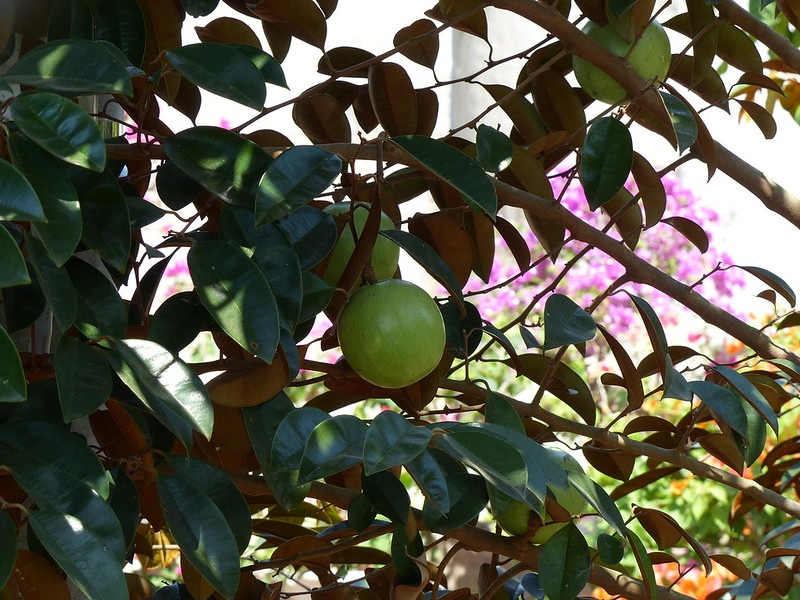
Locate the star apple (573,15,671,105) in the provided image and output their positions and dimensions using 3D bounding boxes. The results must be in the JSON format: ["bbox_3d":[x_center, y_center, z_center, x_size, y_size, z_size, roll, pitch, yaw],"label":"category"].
[{"bbox_3d":[0.320,-0.359,1.401,0.134,0.135,0.177,3,-68,13],"label":"star apple"}]

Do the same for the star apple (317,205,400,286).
[{"bbox_3d":[-0.041,-0.071,1.269,0.097,0.103,0.127,16,-86,10],"label":"star apple"}]

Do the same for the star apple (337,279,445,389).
[{"bbox_3d":[-0.007,0.032,1.181,0.111,0.111,0.138,11,-66,47],"label":"star apple"}]
